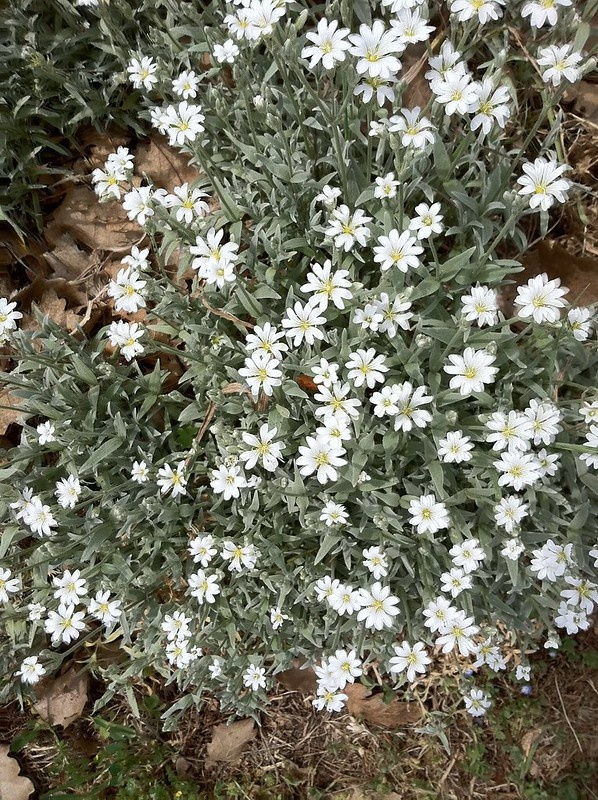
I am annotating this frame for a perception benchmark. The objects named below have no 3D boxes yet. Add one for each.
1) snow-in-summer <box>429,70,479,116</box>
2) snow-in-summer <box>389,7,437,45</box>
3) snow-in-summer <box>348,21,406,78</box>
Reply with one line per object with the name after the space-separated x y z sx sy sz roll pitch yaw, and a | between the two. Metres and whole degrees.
0.531 -1.050 2.347 0.167 0.053 0.162 -15 91 10 | snow-in-summer
0.388 -1.266 2.357 0.149 0.060 0.140 8 99 13 | snow-in-summer
0.254 -1.179 2.319 0.176 0.267 0.256 3 86 2 | snow-in-summer
